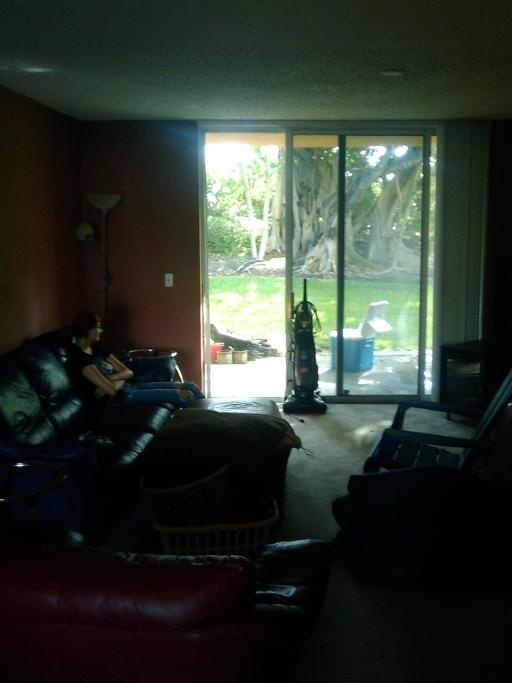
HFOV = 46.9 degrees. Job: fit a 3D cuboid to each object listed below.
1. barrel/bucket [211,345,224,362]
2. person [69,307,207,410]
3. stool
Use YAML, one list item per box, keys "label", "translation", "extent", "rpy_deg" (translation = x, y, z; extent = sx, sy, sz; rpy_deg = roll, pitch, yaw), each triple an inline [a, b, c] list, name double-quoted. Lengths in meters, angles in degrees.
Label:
- label: "barrel/bucket"
  translation: [-0.529, 0.155, 7.618]
  extent: [0.217, 0.225, 0.207]
  rpy_deg: [0, -1, 0]
- label: "person"
  translation: [-0.701, 0.156, 3.884]
  extent: [1.102, 0.713, 0.439]
  rpy_deg: [0, 6, -11]
- label: "stool"
  translation: [-0.155, 0.627, 2.617]
  extent: [0.634, 0.493, 0.673]
  rpy_deg: [1, 7, 12]
